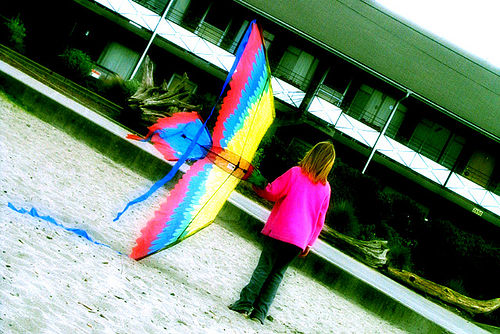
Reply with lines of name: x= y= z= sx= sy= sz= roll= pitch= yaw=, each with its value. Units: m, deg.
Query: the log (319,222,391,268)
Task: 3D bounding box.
log: x=4.641 y=3.196 z=27.019 sx=2.901 sy=1.679 sz=0.935 roll=31 pitch=-4 yaw=7

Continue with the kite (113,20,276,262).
kite: x=-1.148 y=-0.560 z=19.298 sx=2.902 sy=7.787 sz=1.112 roll=28 pitch=-6 yaw=-18
